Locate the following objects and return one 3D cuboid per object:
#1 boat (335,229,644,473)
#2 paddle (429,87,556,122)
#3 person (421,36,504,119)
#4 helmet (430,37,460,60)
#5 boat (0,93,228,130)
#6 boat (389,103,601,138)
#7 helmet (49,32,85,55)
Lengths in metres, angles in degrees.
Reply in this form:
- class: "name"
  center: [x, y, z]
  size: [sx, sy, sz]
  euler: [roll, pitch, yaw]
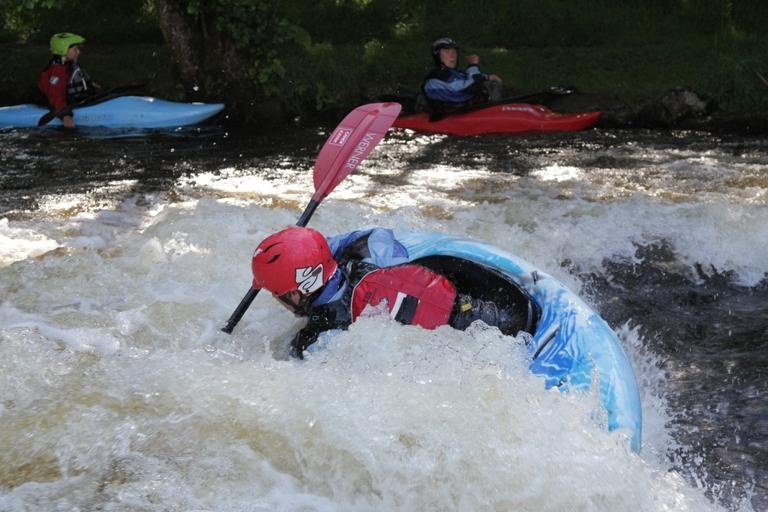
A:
- class: "boat"
  center: [0.748, 0.726, 6.764]
  size: [2.566, 0.507, 1.485]
  euler: [29, 28, 6]
- class: "paddle"
  center: [1.580, -2.218, 11.338]
  size: [1.863, 0.395, 0.646]
  euler: [-8, 17, 11]
- class: "person"
  center: [1.128, -2.667, 11.830]
  size: [1.098, 1.191, 1.418]
  euler: [-6, 14, 15]
- class: "helmet"
  center: [0.855, -3.052, 11.671]
  size: [0.405, 0.292, 0.368]
  euler: [13, 37, 26]
- class: "boat"
  center: [-3.904, -2.127, 11.628]
  size: [3.111, 0.476, 0.778]
  euler: [-2, 1, -17]
- class: "boat"
  center: [1.685, -1.910, 11.089]
  size: [3.355, 0.526, 0.872]
  euler: [-1, 17, 13]
- class: "helmet"
  center: [-4.449, -3.041, 11.387]
  size: [0.605, 0.322, 0.418]
  euler: [-4, 15, -11]
